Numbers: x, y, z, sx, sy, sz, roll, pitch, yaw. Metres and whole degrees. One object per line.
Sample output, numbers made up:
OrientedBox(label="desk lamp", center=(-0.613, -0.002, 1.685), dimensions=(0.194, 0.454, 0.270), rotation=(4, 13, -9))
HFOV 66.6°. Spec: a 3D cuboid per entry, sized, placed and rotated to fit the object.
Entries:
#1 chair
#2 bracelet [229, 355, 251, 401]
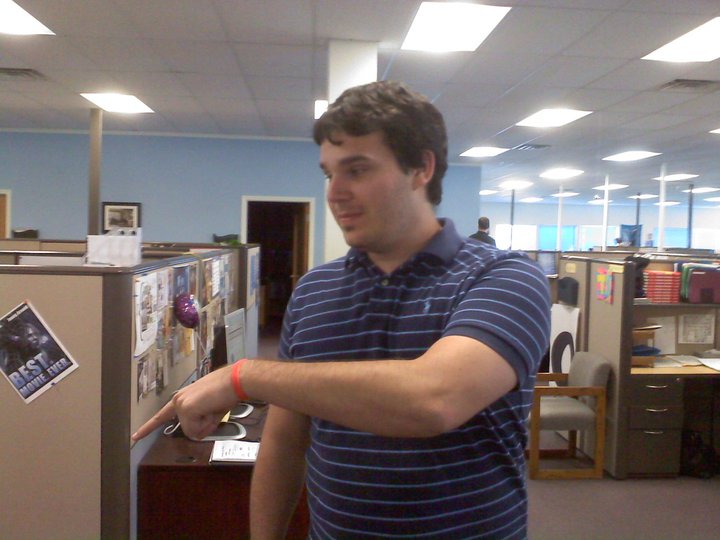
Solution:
OrientedBox(label="chair", center=(1.457, 1.012, 4.001), dimensions=(0.538, 0.826, 0.645), rotation=(2, -3, 5))
OrientedBox(label="bracelet", center=(-0.284, 0.258, 1.330), dimensions=(0.039, 0.101, 0.101), rotation=(6, 31, 5))
